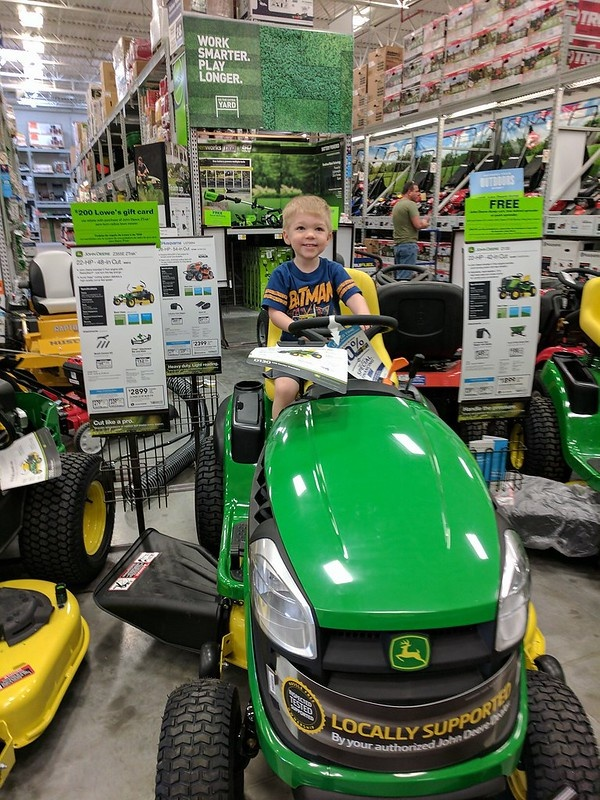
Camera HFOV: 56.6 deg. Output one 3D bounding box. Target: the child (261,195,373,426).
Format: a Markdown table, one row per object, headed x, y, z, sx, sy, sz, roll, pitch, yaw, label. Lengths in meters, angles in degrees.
| x | y | z | sx | sy | sz | roll | pitch | yaw | label |
| --- | --- | --- | --- | --- | --- | --- | --- | --- | --- |
| 0.048 | -0.310 | 2.253 | 0.452 | 0.943 | 0.490 | -2 | 23 | -6 | child |

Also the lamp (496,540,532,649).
| x | y | z | sx | sy | sz | roll | pitch | yaw | label |
| --- | --- | --- | --- | --- | --- | --- | --- | --- | --- |
| 0.401 | 0.360 | 1.063 | 0.054 | 0.126 | 0.175 | 1 | 44 | 10 | lamp |

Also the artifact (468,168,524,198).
| x | y | z | sx | sy | sz | roll | pitch | yaw | label |
| --- | --- | --- | --- | --- | --- | --- | --- | --- | --- |
| 0.901 | -0.999 | 2.569 | 0.229 | 0.135 | 0.233 | 2 | 13 | 16 | artifact |

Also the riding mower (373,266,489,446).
| x | y | z | sx | sy | sz | roll | pitch | yaw | label |
| --- | --- | --- | --- | --- | --- | --- | --- | --- | --- |
| 0.633 | -0.254 | 3.413 | 0.628 | 1.027 | 1.081 | -1 | 16 | 1 | riding mower |

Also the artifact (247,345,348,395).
| x | y | z | sx | sy | sz | roll | pitch | yaw | label |
| --- | --- | --- | --- | --- | --- | --- | --- | --- | --- |
| 0.007 | -0.087 | 1.348 | 0.157 | 0.039 | 0.162 | 1 | 18 | 12 | artifact |

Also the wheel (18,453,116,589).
| x | y | z | sx | sy | sz | roll | pitch | yaw | label |
| --- | --- | --- | --- | --- | --- | --- | --- | --- | --- |
| -0.998 | 0.513 | 2.454 | 0.210 | 0.538 | 0.552 | 0 | 12 | -2 | wheel |

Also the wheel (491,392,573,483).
| x | y | z | sx | sy | sz | roll | pitch | yaw | label |
| --- | --- | --- | --- | --- | --- | --- | --- | --- | --- |
| 1.203 | 0.190 | 2.871 | 0.168 | 0.458 | 0.466 | -1 | 5 | -3 | wheel |

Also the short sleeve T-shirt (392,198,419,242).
| x | y | z | sx | sy | sz | roll | pitch | yaw | label |
| --- | --- | --- | --- | --- | --- | --- | --- | --- | --- |
| 1.369 | -2.329 | 7.243 | 0.303 | 0.557 | 0.498 | -17 | 31 | -14 | short sleeve T-shirt |
